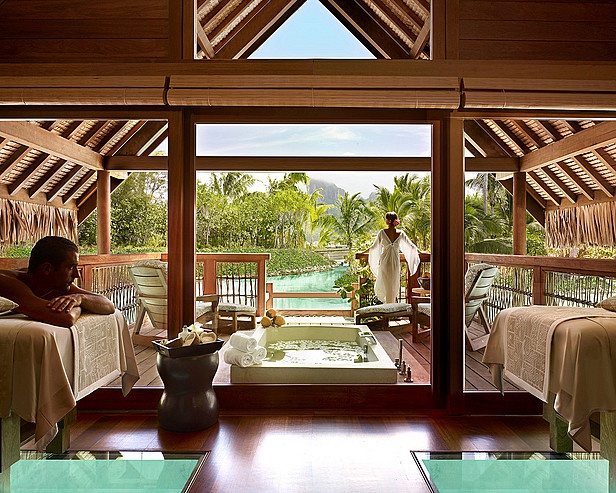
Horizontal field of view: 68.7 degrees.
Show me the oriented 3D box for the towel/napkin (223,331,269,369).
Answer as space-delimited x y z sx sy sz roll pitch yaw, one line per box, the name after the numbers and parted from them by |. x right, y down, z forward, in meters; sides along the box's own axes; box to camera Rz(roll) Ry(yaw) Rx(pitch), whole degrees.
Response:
-0.514 0.862 3.735 0.278 0.269 0.286 10 -14 -35 | towel/napkin

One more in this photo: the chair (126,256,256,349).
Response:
-1.288 0.600 5.757 0.975 0.891 1.390 0 3 22 | chair
